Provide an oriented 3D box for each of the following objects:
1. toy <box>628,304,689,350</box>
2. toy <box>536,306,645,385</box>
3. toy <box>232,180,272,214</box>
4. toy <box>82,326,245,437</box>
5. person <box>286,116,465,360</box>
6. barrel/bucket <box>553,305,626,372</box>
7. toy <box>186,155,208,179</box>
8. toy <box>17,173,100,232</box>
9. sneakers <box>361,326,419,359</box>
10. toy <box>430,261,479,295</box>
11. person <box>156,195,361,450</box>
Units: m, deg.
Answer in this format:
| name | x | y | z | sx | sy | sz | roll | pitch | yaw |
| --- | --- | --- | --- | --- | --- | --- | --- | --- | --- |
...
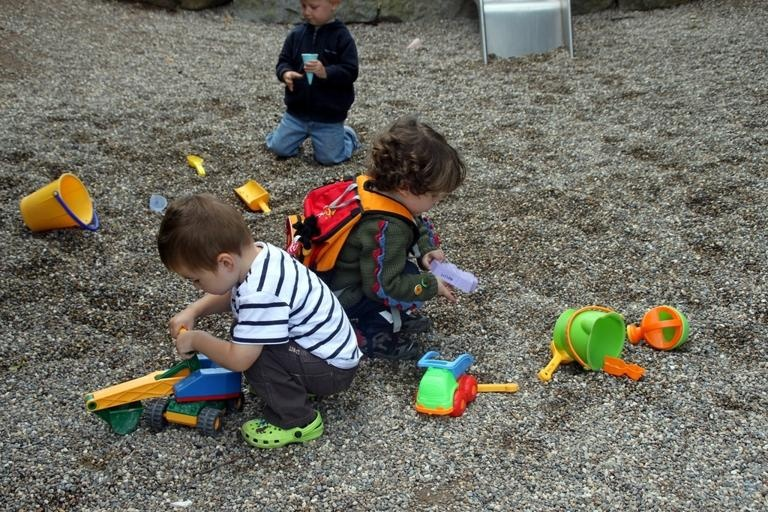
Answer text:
| name | x | y | z | sx | sy | sz | roll | pitch | yaw |
| --- | --- | --- | --- | --- | --- | --- | --- | --- | --- |
| toy | 1.491 | 0.411 | 4.120 | 0.322 | 0.219 | 0.228 | -6 | 75 | -3 |
| toy | 1.102 | 0.451 | 4.103 | 0.529 | 0.352 | 0.211 | -32 | 9 | 10 |
| toy | -0.899 | -0.422 | 5.071 | 0.164 | 0.103 | 0.314 | -25 | 50 | -24 |
| toy | -1.089 | 0.651 | 3.726 | 0.648 | 0.285 | 0.427 | -11 | 21 | -40 |
| person | -0.064 | -0.093 | 4.173 | 0.971 | 1.278 | 0.675 | -1 | 26 | 1 |
| barrel/bucket | 1.125 | 0.426 | 4.028 | 0.300 | 0.375 | 0.279 | 9 | 8 | -1 |
| toy | -1.340 | -0.648 | 5.322 | 0.131 | 0.046 | 0.177 | -8 | 37 | -30 |
| toy | -2.024 | -0.287 | 4.642 | 0.322 | 0.409 | 0.412 | -21 | 72 | 7 |
| sneakers | 0.039 | 0.496 | 4.194 | 0.385 | 0.177 | 0.134 | 1 | 45 | 2 |
| toy | 0.365 | 0.108 | 4.061 | 0.260 | 0.093 | 0.142 | 28 | 18 | 15 |
| person | -0.595 | 0.329 | 3.869 | 1.092 | 1.188 | 0.822 | 7 | 15 | 9 |
